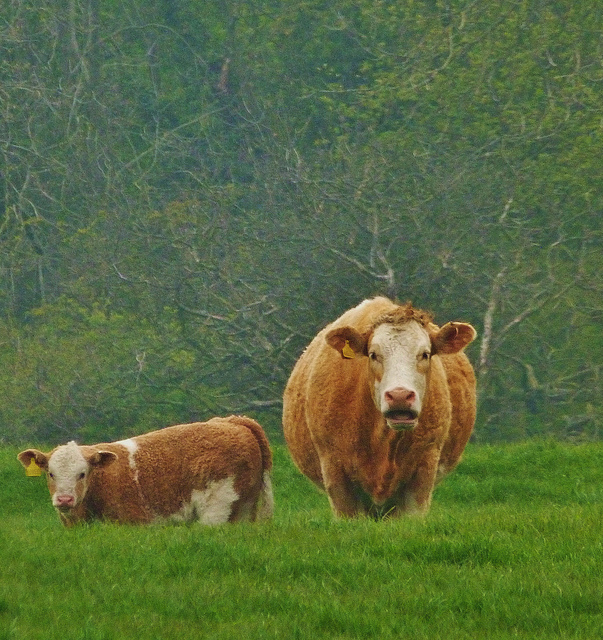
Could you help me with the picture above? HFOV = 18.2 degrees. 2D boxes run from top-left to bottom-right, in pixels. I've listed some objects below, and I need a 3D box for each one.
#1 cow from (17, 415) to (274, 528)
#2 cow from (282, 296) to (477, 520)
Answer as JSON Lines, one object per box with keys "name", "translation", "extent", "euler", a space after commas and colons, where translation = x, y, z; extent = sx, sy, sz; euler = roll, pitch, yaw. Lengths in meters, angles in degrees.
{"name": "cow", "translation": [-2.791, 3.368, 35.092], "extent": [4.690, 3.203, 2.094], "euler": [-4, -16, -1]}
{"name": "cow", "translation": [1.280, 1.976, 34.956], "extent": [3.029, 4.510, 6.568], "euler": [0, -7, -10]}
